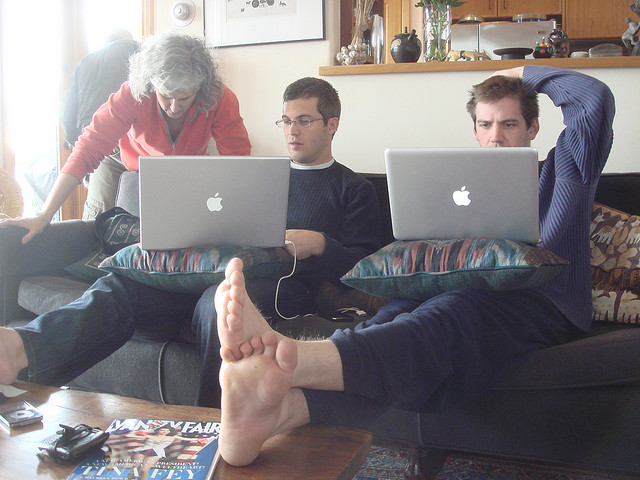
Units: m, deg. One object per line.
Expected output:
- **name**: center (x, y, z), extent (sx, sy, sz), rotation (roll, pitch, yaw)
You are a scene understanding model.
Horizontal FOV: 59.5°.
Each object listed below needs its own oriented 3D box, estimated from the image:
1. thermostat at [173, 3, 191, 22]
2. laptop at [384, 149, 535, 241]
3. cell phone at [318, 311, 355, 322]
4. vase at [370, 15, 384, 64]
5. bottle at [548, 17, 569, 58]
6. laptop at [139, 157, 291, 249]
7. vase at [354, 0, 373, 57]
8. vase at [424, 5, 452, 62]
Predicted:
- **thermostat**: center (-0.802, -1.315, 3.230), extent (0.105, 0.103, 0.027), rotation (0, 15, 10)
- **laptop**: center (0.439, -0.114, 1.919), extent (0.497, 0.322, 0.357), rotation (0, -8, -9)
- **cell phone**: center (0.057, 0.287, 2.103), extent (0.121, 0.021, 0.216), rotation (3, 2, -16)
- **vase**: center (0.318, -1.123, 3.137), extent (0.075, 0.254, 0.146), rotation (-2, 15, 4)
- **bottle**: center (1.207, -1.005, 2.823), extent (0.098, 0.175, 0.073), rotation (7, 8, 43)
- **laptop**: center (-0.352, -0.123, 2.040), extent (0.532, 0.315, 0.373), rotation (-1, 1, -5)
- **vase**: center (0.232, -1.145, 3.132), extent (0.093, 0.354, 0.115), rotation (1, 10, -1)
- **vase**: center (0.602, -1.059, 2.864), extent (0.132, 0.275, 0.157), rotation (0, 15, 11)
